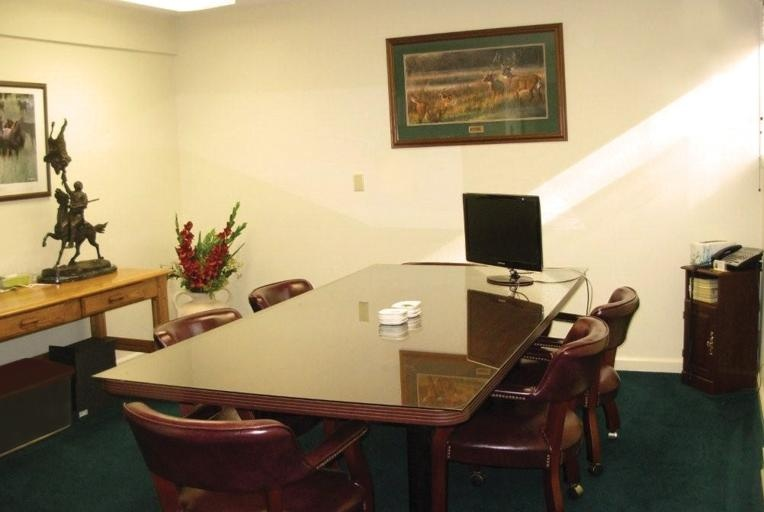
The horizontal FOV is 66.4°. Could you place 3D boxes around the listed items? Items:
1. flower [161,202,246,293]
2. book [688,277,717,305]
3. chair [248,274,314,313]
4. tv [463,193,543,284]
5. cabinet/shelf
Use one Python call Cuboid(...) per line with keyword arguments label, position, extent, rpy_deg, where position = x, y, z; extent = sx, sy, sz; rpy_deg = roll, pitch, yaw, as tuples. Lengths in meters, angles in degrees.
Cuboid(label="flower", position=(-1.589, 0.008, 5.162), extent=(0.579, 0.803, 0.641), rpy_deg=(-6, -4, 23))
Cuboid(label="book", position=(2.383, 0.245, 4.342), extent=(0.151, 0.197, 0.263), rpy_deg=(4, 5, 31))
Cuboid(label="chair", position=(-0.657, 0.285, 3.802), extent=(0.269, 0.333, 0.269), rpy_deg=(-19, 21, 11))
Cuboid(label="tv", position=(0.848, -0.146, 3.948), extent=(0.591, 0.598, 0.290), rpy_deg=(9, 20, 44))
Cuboid(label="cabinet/shelf", position=(2.505, 0.532, 4.310), extent=(0.508, 0.927, 0.308), rpy_deg=(4, 15, 25))
